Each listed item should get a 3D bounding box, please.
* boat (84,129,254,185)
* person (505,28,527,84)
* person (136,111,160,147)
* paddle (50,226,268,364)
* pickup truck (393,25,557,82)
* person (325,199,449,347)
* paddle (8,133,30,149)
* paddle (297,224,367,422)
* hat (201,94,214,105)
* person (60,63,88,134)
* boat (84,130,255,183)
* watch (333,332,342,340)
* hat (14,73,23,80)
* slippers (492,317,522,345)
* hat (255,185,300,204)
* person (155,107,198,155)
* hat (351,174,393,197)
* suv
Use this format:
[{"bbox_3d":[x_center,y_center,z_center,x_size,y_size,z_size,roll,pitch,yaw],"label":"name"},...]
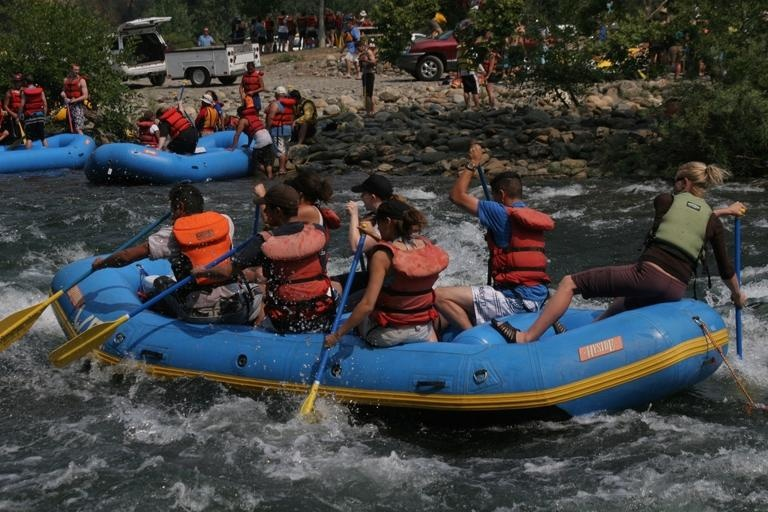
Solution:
[{"bbox_3d":[-4.911,-2.183,18.277,2.520,0.915,3.375,4,13,30],"label":"boat"},{"bbox_3d":[3.363,-5.193,20.638,0.532,1.289,1.597,-1,18,10],"label":"person"},{"bbox_3d":[-5.346,-2.907,18.325,0.533,0.691,0.290,16,51,1],"label":"person"},{"bbox_3d":[-2.645,0.523,9.657,3.798,0.351,0.292,-26,2,7],"label":"paddle"},{"bbox_3d":[2.403,-6.237,25.439,4.105,1.344,1.641,0,14,0],"label":"pickup truck"},{"bbox_3d":[0.117,0.229,8.615,1.156,1.633,0.560,-5,21,-2],"label":"person"},{"bbox_3d":[-8.548,-2.614,19.119,0.230,0.341,1.489,-43,13,-14],"label":"paddle"},{"bbox_3d":[-0.589,0.813,9.019,0.347,2.319,0.262,22,-9,15],"label":"paddle"},{"bbox_3d":[-4.029,-3.566,18.482,0.229,0.225,0.306,-7,18,-11],"label":"hat"},{"bbox_3d":[-7.486,-3.821,19.725,0.591,1.636,1.410,-12,20,-18],"label":"person"},{"bbox_3d":[-4.390,-2.014,17.356,2.487,0.593,1.527,-6,6,-44],"label":"boat"},{"bbox_3d":[-0.500,0.845,8.707,0.091,0.069,0.024,-6,2,6],"label":"watch"},{"bbox_3d":[-8.505,-4.181,18.868,0.242,0.082,0.297,-4,8,-25],"label":"hat"},{"bbox_3d":[1.341,0.815,8.938,0.384,0.142,0.138,36,12,11],"label":"slippers"},{"bbox_3d":[-1.229,-0.690,9.001,0.446,0.184,0.269,3,11,23],"label":"hat"},{"bbox_3d":[-4.505,-2.668,17.662,1.032,0.981,0.955,-7,12,-22],"label":"person"},{"bbox_3d":[-0.136,-0.794,9.162,0.462,0.267,0.265,-2,18,4],"label":"hat"},{"bbox_3d":[-8.497,-7.050,27.915,1.959,1.834,3.328,-8,22,-27],"label":"suv"}]
